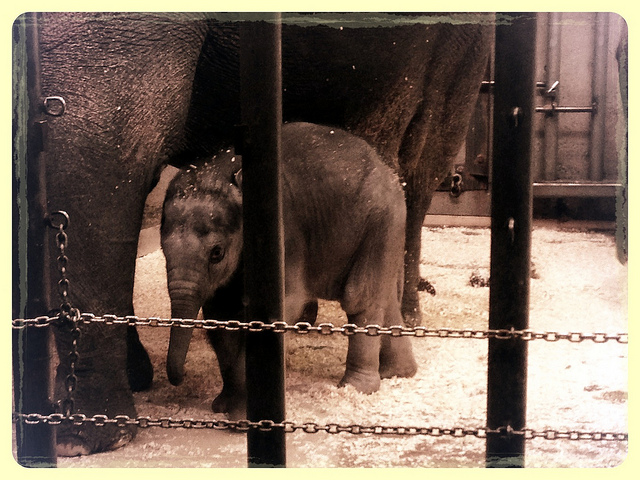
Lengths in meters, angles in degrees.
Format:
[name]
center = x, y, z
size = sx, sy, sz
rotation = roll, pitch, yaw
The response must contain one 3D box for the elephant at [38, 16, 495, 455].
[elephant]
center = -0.133, -0.225, 4.076
size = 1.992, 1.511, 1.039
rotation = -2, 4, -24
